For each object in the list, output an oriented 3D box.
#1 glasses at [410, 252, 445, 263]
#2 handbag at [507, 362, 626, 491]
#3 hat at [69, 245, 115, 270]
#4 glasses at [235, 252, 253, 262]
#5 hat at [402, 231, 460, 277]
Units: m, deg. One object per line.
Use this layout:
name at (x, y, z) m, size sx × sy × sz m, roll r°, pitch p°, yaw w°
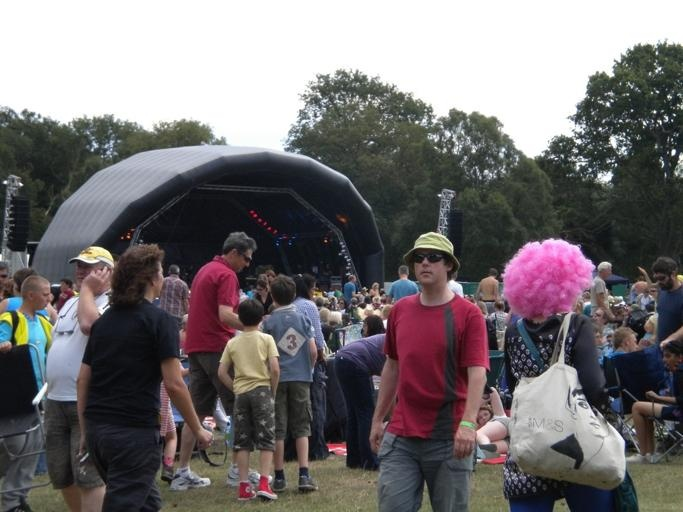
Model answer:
glasses at (0.629, 0.014, 6.501) m, size 0.207 × 0.063 × 0.075 m, roll 0°, pitch 2°, yaw 25°
handbag at (1.610, 1.106, 6.289) m, size 0.733 × 1.103 × 0.487 m, roll 10°, pitch -38°, yaw 3°
hat at (-2.000, 0.008, 7.280) m, size 0.216 × 0.174 × 0.318 m, roll -8°, pitch -23°, yaw 43°
glasses at (-0.987, 0.009, 9.114) m, size 0.042 × 0.140 × 0.129 m, roll -27°, pitch -19°, yaw 21°
hat at (0.673, -0.034, 6.822) m, size 0.390 × 0.286 × 0.676 m, roll -1°, pitch 2°, yaw 4°
